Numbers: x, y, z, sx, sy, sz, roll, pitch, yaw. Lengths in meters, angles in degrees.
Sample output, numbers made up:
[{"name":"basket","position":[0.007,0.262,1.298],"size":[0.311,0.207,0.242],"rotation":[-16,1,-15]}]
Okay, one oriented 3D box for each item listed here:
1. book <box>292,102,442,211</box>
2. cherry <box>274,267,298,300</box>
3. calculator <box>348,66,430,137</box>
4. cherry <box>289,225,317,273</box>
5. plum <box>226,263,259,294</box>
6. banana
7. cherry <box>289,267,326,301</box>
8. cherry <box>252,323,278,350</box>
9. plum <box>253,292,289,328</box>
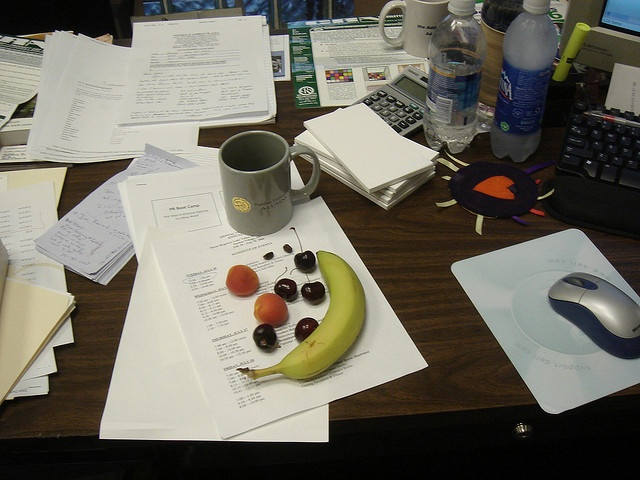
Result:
[{"name":"book","position":[0.087,-0.171,0.907],"size":[0.239,0.052,0.177],"rotation":[37,61,23]},{"name":"cherry","position":[-0.058,0.065,0.750],"size":[0.027,0.019,0.037],"rotation":[-3,66,5]},{"name":"calculator","position":[0.154,-0.274,1.010],"size":[0.180,0.043,0.125],"rotation":[-37,63,-28]},{"name":"cherry","position":[-0.029,0.018,0.795],"size":[0.038,0.075,0.038],"rotation":[0,19,38]},{"name":"plum","position":[-0.130,0.059,0.782],"size":[0.069,0.031,0.059],"rotation":[15,15,-7]},{"name":"banana","position":[-0.002,0.119,0.722],"size":[0.117,0.053,0.231],"rotation":[20,49,19]},{"name":"cherry","position":[-0.027,0.069,0.750],"size":[0.041,0.025,0.060],"rotation":[3,39,4]},{"name":"cherry","position":[-0.079,0.141,0.701],"size":[0.041,0.034,0.045],"rotation":[11,38,-14]},{"name":"plum","position":[-0.076,0.107,0.751],"size":[0.056,0.051,0.060],"rotation":[-8,9,-42]}]
